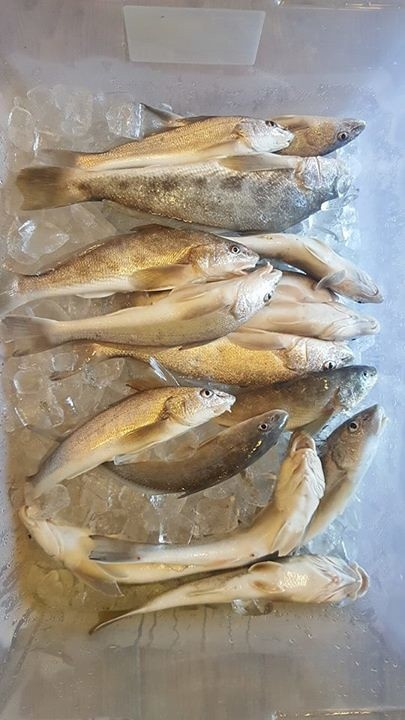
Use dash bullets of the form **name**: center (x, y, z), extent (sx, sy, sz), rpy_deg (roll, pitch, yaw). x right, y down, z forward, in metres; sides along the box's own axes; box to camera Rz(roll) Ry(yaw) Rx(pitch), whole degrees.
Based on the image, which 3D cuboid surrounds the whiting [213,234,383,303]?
- **whiting**: center (0.254, -0.252, 1.866), extent (0.374, 0.076, 0.117), rpy_deg (22, 19, -1)

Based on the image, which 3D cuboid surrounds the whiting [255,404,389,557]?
- **whiting**: center (0.417, 0.300, 1.923), extent (0.144, 0.239, 0.602), rpy_deg (43, 74, -18)

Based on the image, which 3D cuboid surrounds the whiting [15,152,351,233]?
- **whiting**: center (0.012, -0.462, 1.852), extent (0.812, 0.234, 0.227), rpy_deg (0, 44, -10)

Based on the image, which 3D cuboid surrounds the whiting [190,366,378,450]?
- **whiting**: center (0.314, 0.194, 1.980), extent (0.530, 0.170, 0.181), rpy_deg (-16, 25, -9)

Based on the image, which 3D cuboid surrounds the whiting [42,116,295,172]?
- **whiting**: center (-0.070, -0.591, 1.833), extent (0.667, 0.164, 0.135), rpy_deg (-5, 20, 6)

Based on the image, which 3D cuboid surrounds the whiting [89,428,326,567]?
- **whiting**: center (0.101, 0.445, 1.862), extent (0.709, 0.237, 0.324), rpy_deg (-15, 64, -10)

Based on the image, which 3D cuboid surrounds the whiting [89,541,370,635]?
- **whiting**: center (0.052, 0.632, 1.828), extent (0.711, 0.193, 0.113), rpy_deg (-5, 56, -3)
